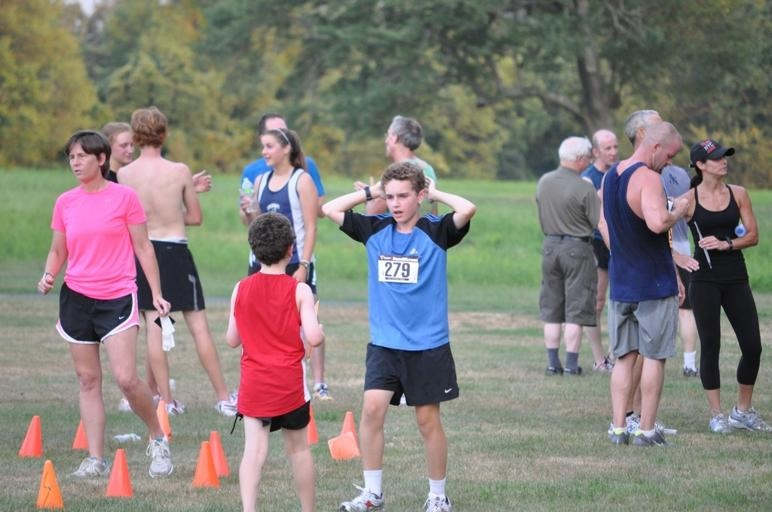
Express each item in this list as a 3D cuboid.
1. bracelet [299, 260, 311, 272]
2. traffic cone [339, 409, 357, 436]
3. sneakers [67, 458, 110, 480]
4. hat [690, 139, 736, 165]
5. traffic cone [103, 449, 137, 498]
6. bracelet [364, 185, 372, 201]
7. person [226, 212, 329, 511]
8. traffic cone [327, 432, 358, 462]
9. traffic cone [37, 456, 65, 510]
[{"bbox_3d":[-1.302,0.157,26.101,0.187,0.154,0.220,-6,-13,22],"label":"bracelet"},{"bbox_3d":[-0.552,2.631,25.419,0.288,0.391,0.303,1,-8,1],"label":"traffic cone"},{"bbox_3d":[-4.458,3.265,24.545,0.513,0.252,0.273,3,-1,-13],"label":"sneakers"},{"bbox_3d":[5.166,-1.697,25.747,0.565,0.304,0.386,-10,6,22],"label":"hat"},{"bbox_3d":[-4.008,3.271,24.302,0.396,0.718,0.453,-1,4,-11],"label":"traffic cone"},{"bbox_3d":[-0.253,-0.969,24.485,0.127,0.213,0.205,-2,42,8],"label":"bracelet"},{"bbox_3d":[-1.640,1.594,23.690,1.256,4.443,0.583,-1,3,-7],"label":"person"},{"bbox_3d":[-0.674,3.011,25.175,0.397,0.428,0.333,-19,3,-1],"label":"traffic cone"},{"bbox_3d":[-5.007,3.426,24.067,0.395,0.706,0.455,-1,4,-13],"label":"traffic cone"}]
